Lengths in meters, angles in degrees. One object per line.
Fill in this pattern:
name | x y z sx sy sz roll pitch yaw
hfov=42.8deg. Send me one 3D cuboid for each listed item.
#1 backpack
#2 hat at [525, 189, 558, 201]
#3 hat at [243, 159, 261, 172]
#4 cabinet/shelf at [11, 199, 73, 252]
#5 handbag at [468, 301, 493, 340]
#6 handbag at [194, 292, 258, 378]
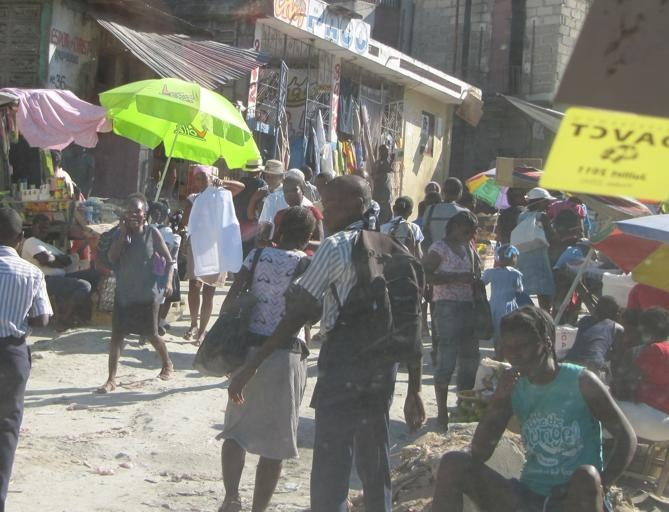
backpack | 0.287 0.253 5.504 0.590 0.818 0.361 3 9 2
hat | 2.664 -0.780 10.905 0.305 0.148 0.244 1 1 12
hat | -1.157 -1.249 12.147 0.232 0.098 0.253 1 -6 -44
cabinet/shelf | -3.716 -0.500 11.035 0.664 0.787 0.184 2 5 31
handbag | 1.352 0.620 8.156 0.233 0.522 0.330 1 -4 -3
handbag | -0.771 0.549 6.005 0.420 0.531 0.212 1 9 -14
